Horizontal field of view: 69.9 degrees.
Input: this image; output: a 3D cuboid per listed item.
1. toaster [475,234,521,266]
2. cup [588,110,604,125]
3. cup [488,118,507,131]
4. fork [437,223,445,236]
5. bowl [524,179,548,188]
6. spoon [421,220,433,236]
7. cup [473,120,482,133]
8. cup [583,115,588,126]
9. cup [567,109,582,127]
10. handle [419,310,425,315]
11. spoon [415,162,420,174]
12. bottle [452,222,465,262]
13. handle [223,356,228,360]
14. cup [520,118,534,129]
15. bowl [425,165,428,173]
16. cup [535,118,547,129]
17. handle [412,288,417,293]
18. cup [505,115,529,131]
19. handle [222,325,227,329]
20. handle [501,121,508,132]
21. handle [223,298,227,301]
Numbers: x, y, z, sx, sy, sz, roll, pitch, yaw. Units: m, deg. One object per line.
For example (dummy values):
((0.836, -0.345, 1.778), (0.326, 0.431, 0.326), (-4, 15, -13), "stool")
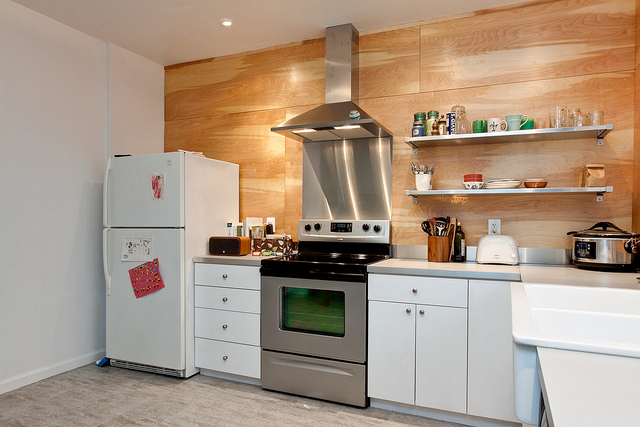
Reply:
((1.487, 0.308, 3.794), (0.401, 0.221, 0.325), (4, 4, 25), "toaster")
((2.197, -0.752, 3.610), (0.095, 0.117, 0.131), (1, -1, 7), "cup")
((1.498, -0.749, 3.834), (0.092, 0.090, 0.144), (-4, 5, -36), "cup")
((1.073, 0.143, 4.019), (0.066, 0.097, 0.019), (1, -22, 38), "fork")
((1.780, -0.244, 3.744), (0.109, 0.037, 0.097), (2, 0, 3), "bowl")
((0.953, 0.132, 4.072), (0.072, 0.115, 0.023), (-1, -16, 37), "spoon")
((1.345, -0.734, 3.875), (0.076, 0.099, 0.049), (3, 14, 14), "cup")
((2.140, -0.748, 3.669), (0.031, 0.079, 0.057), (3, 14, 14), "cup")
((2.049, -0.758, 3.649), (0.112, 0.137, 0.078), (5, 15, 19), "cup")
((0.809, 0.776, 3.593), (0.045, 0.037, 0.030), (4, 4, 6), "handle")
((0.869, -0.392, 4.055), (0.039, 0.074, 0.102), (2, 13, 9), "spoon")
((1.234, 0.257, 4.016), (0.106, 0.314, 0.196), (4, 14, 15), "bottle")
((-0.855, 1.304, 4.121), (0.030, 0.009, 0.028), (0, 0, -33), "handle")
((1.721, -0.732, 3.773), (0.097, 0.076, 0.087), (3, -1, -4), "cup")
((0.946, -0.387, 4.036), (0.025, 0.050, 0.065), (3, 13, 13), "bowl")
((1.873, -0.758, 3.850), (0.100, 0.082, 0.226), (6, 13, 24), "cup")
((0.755, 0.612, 3.616), (0.026, 0.023, 0.024), (2, -2, -4), "handle")
((1.628, -0.746, 3.774), (0.182, 0.106, 0.114), (3, -2, 12), "cup")
((-0.859, 1.024, 4.130), (0.050, 0.017, 0.064), (2, 2, -11), "handle")
((1.560, -0.728, 3.807), (0.085, 0.072, 0.047), (0, 3, -13), "handle")
((-0.858, 0.779, 4.139), (0.039, 0.030, 0.035), (1, -7, -9), "handle")
